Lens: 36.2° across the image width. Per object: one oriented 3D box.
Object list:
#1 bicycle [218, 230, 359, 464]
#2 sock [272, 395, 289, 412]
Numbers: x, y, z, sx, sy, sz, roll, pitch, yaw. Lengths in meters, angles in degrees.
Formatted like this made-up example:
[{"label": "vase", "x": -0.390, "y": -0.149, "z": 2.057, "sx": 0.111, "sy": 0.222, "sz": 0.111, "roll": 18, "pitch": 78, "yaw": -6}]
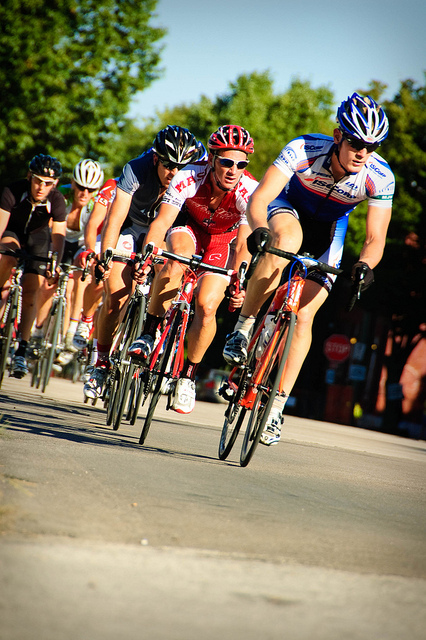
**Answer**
[{"label": "bicycle", "x": 0.475, "y": 0.230, "z": 5.065, "sx": 0.768, "sy": 1.847, "sz": 1.469, "roll": 11, "pitch": -6, "yaw": 7}, {"label": "sock", "x": 0.511, "y": 0.629, "z": 4.937, "sx": 0.111, "sy": 0.113, "sz": 0.150, "roll": 12, "pitch": -8, "yaw": -8}]
